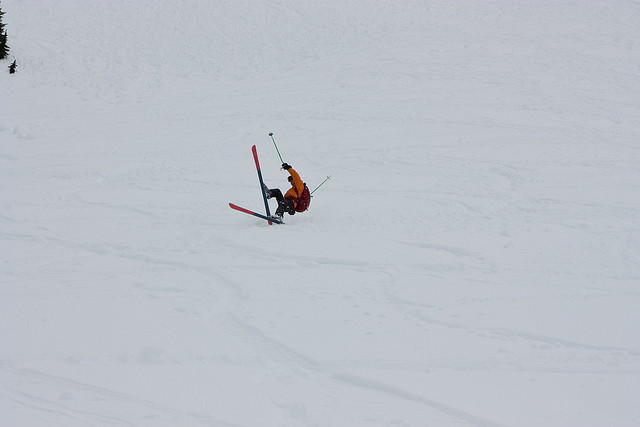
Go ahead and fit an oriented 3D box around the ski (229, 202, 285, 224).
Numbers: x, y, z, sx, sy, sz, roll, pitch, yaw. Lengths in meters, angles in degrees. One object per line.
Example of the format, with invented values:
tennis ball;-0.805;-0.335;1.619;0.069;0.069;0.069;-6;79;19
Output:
ski;-1.485;-0.020;27.359;1.745;0.104;0.162;14;26;-35

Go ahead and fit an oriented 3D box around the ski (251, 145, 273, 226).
ski;-1.394;-0.633;28.307;0.194;2.149;0.199;-1;20;37

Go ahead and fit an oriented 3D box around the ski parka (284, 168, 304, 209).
ski parka;-0.595;-0.635;26.970;0.423;0.940;0.504;12;46;12
